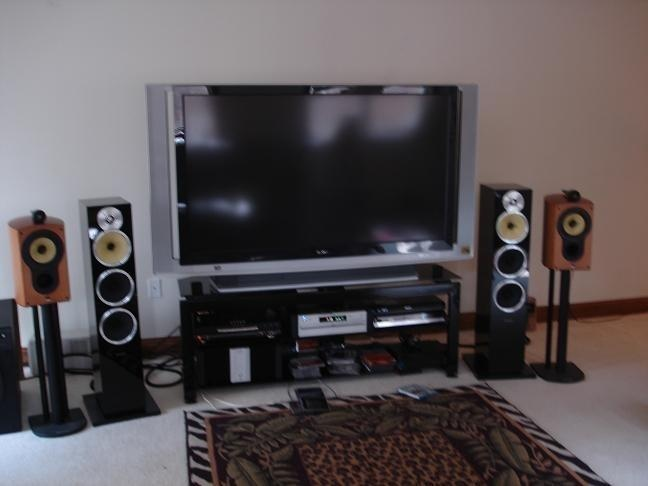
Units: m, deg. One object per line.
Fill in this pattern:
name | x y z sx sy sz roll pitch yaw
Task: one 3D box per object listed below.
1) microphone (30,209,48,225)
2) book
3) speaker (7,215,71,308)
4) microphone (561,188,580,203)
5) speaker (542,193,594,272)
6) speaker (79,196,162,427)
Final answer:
microphone | -1.511 -0.138 3.033 0.076 0.076 0.125 -4 6 -27
book | 0.087 0.945 3.628 0.734 0.162 0.300 -2 19 -7
speaker | -1.536 0.081 3.085 0.261 0.521 0.246 -4 7 -29
microphone | 1.544 -0.298 3.589 0.065 0.050 0.175 -3 9 7
speaker | 1.523 -0.077 3.560 0.289 0.499 0.191 1 6 17
speaker | -1.173 0.383 3.258 0.392 1.256 0.246 -4 7 -24
